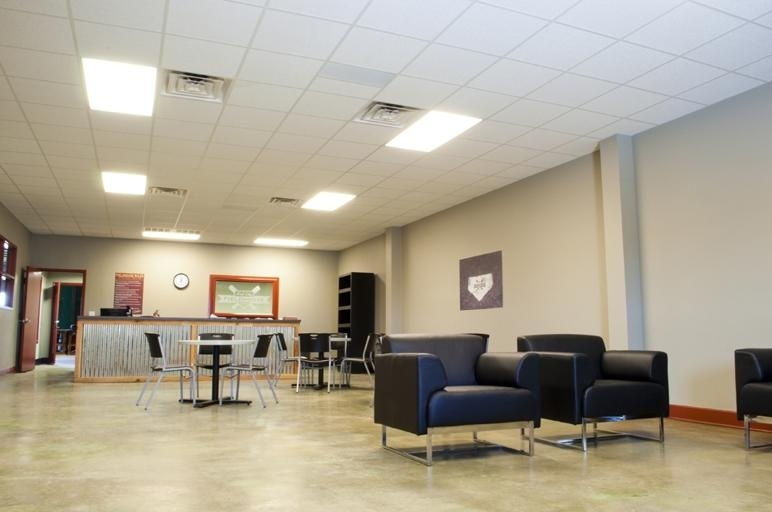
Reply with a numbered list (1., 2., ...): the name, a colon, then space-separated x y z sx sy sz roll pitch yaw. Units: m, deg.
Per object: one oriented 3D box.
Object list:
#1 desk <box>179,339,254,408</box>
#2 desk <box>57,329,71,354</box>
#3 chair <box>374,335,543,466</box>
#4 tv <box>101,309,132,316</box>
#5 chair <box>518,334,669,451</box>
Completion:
1. desk: -2.828 1.941 8.540 0.988 1.013 2.643 4 -10 -15
2. desk: -12.628 3.401 19.671 0.595 0.969 0.582 7 -11 -29
3. chair: 0.703 1.411 5.090 1.426 1.078 1.091 6 -10 -27
4. tv: -6.137 1.300 11.314 0.561 0.196 0.427 5 -10 -24
5. chair: 2.347 1.477 5.674 1.338 1.058 1.023 4 -8 -18
